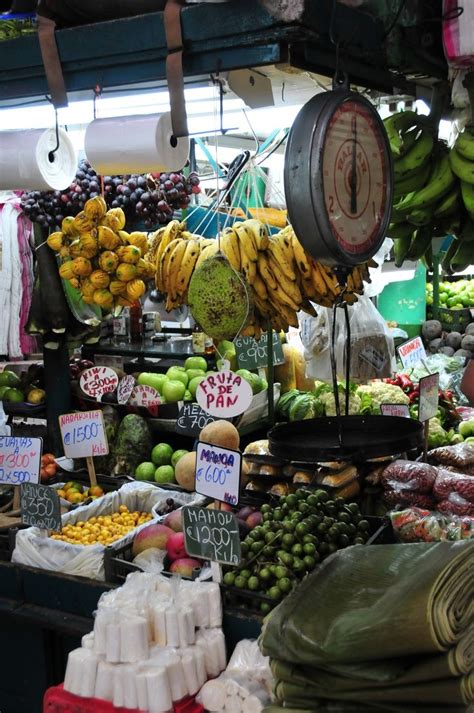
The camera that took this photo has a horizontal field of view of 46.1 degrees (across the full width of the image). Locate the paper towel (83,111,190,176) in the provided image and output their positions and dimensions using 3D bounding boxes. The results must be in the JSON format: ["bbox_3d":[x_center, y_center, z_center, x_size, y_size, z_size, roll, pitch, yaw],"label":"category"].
[{"bbox_3d":[-0.287,-0.607,1.612,0.267,0.147,0.182,-5,3,21],"label":"paper towel"}]

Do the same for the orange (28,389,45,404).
[{"bbox_3d":[-1.188,0.241,3.304,0.084,0.080,0.084,-3,-4,12],"label":"orange"}]

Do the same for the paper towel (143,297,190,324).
[{"bbox_3d":[-0.523,-0.323,3.984,0.287,0.118,0.301,13,-4,33],"label":"paper towel"}]

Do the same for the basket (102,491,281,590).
[{"bbox_3d":[-0.263,0.678,2.030,0.266,0.154,0.467,2,6,33],"label":"basket"}]

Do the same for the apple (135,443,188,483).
[{"bbox_3d":[-0.403,0.565,2.921,0.258,0.186,0.198,-8,13,-27],"label":"apple"}]

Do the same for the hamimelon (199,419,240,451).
[{"bbox_3d":[-0.071,0.353,2.458,0.129,0.103,0.164,-4,4,41],"label":"hamimelon"}]

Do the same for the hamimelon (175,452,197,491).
[{"bbox_3d":[-0.233,0.546,2.546,0.095,0.148,0.173,-7,3,-8],"label":"hamimelon"}]

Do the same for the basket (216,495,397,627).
[{"bbox_3d":[0.140,0.510,1.771,0.510,0.292,0.601,4,12,29],"label":"basket"}]

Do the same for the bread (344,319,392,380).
[{"bbox_3d":[0.688,0.002,3.012,0.413,0.371,0.235,-2,2,-39],"label":"bread"}]
